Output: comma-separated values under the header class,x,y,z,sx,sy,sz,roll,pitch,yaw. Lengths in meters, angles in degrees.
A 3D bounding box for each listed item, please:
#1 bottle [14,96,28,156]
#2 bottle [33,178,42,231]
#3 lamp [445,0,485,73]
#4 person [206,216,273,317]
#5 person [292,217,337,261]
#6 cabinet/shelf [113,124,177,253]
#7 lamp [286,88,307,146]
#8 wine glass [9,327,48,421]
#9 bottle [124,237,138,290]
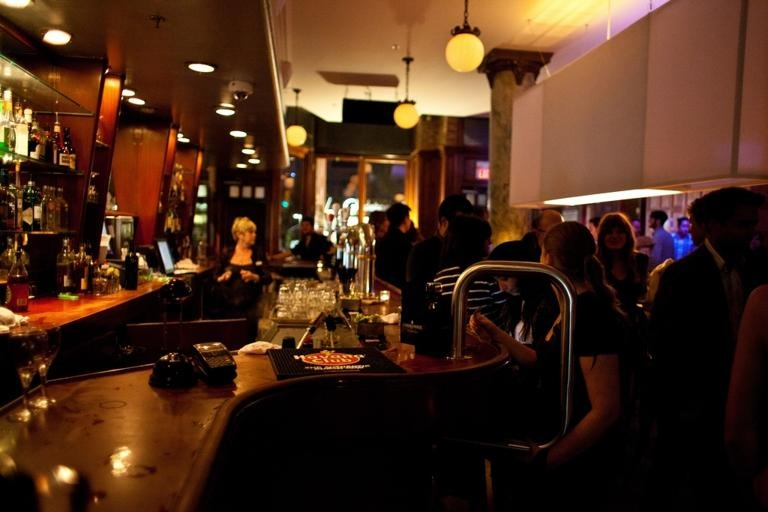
class,x,y,z,sx,sy,sz,roll,pitch,yaw
bottle,-2.571,-0.898,4.437,0.092,0.404,0.356,-3,4,-29
bottle,-2.589,-0.363,4.701,0.066,0.328,0.393,-3,4,-28
lamp,0.851,-2.231,6.608,0.385,0.761,1.422,0,4,8
person,-1.776,0.132,7.702,0.754,1.205,0.582,2,5,41
person,-1.234,-0.282,10.825,0.671,0.775,0.558,-1,4,-5
cabinet/shelf,-2.908,-0.792,7.218,0.551,1.666,0.350,-6,24,-43
lamp,-1.413,-2.230,10.123,0.377,0.889,0.376,2,13,-10
wine glass,-1.405,0.438,2.479,0.116,0.316,0.214,-3,4,-31
bottle,-2.232,0.077,5.517,0.112,0.426,0.343,-2,4,-22
